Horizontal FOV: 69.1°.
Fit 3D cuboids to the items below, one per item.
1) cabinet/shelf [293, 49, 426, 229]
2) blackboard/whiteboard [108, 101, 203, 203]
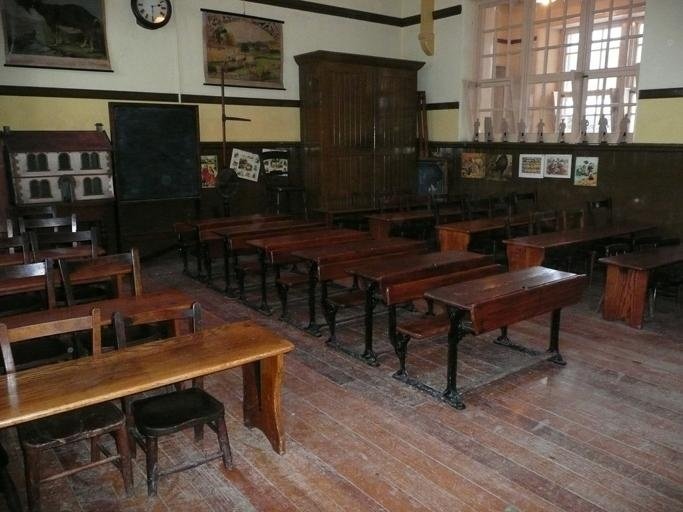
[{"bbox_3d":[0.727,-2.343,9.943,2.459,3.148,0.835,10,20,33],"label":"cabinet/shelf"},{"bbox_3d":[-3.095,-1.702,7.988,1.752,1.701,0.129,-7,12,-34],"label":"blackboard/whiteboard"}]
